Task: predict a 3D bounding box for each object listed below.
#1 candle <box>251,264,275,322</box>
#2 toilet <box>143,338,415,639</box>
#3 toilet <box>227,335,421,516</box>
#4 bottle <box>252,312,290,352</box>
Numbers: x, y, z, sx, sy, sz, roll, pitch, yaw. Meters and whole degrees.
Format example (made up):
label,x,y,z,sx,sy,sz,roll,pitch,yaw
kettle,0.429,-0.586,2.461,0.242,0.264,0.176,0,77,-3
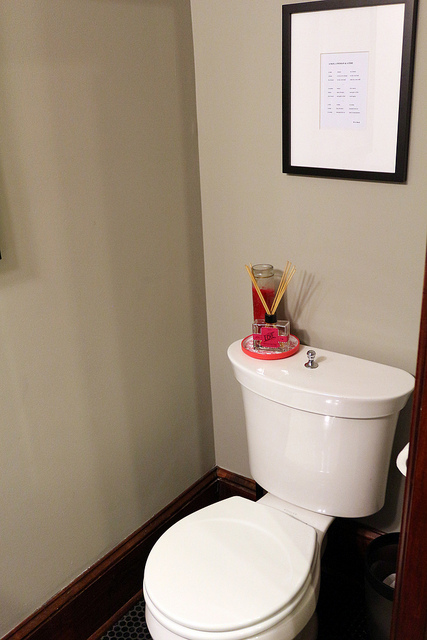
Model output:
label,x,y,z,sx,sy,sz,roll,pitch,yaw
candle,0.137,-0.080,1.428,0.059,0.144,0.134,-2,21,7
toilet,0.167,0.410,1.274,0.416,0.709,0.646,15,28,35
toilet,0.254,0.266,1.349,0.482,0.406,0.233,15,28,41
bottle,0.148,0.036,1.363,0.076,0.087,0.030,8,23,25
